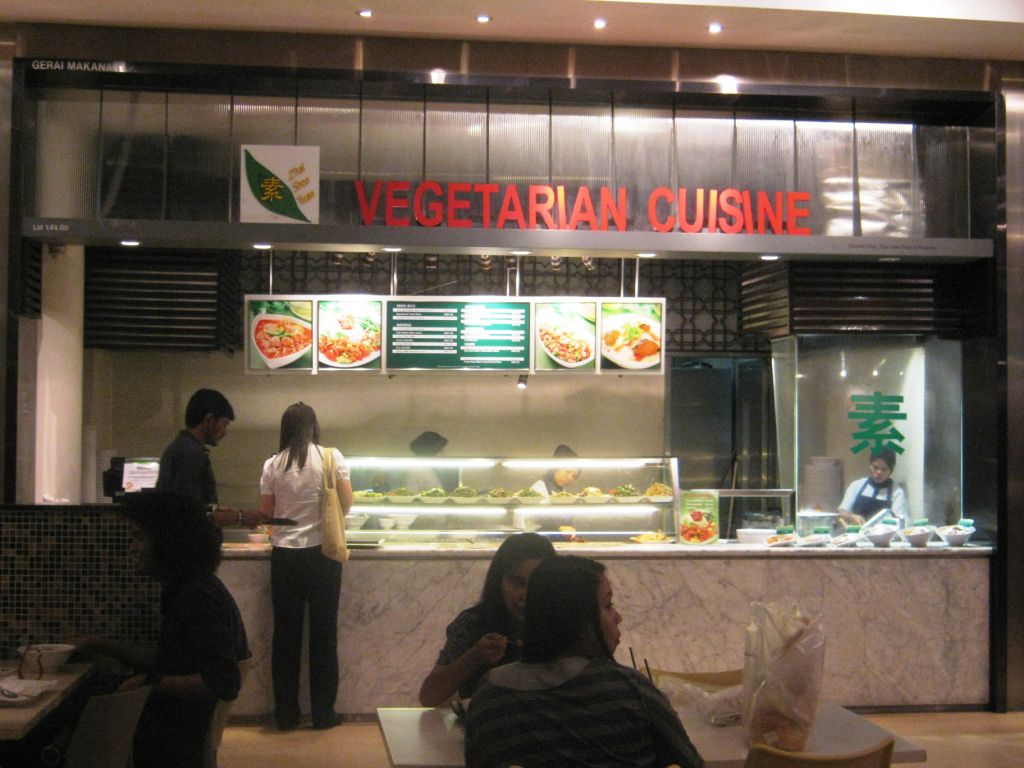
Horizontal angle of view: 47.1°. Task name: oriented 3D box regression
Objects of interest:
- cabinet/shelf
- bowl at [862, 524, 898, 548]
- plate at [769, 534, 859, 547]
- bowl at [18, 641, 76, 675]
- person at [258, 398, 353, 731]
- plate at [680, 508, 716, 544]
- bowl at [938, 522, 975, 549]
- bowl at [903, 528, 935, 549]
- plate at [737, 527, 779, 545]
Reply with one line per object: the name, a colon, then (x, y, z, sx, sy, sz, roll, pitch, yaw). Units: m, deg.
cabinet/shelf: (-0.070, 0.791, 8.393, 2.983, 0.566, 0.707, 0, -3, -13)
bowl: (2.583, 1.059, 8.227, 0.205, 0.149, 0.187, -1, -3, 0)
plate: (2.109, 1.093, 8.188, 0.668, 0.086, 0.252, -1, -2, -5)
bowl: (-2.349, 1.392, 5.917, 0.174, 0.066, 0.177, 0, -2, 0)
person: (-1.351, 1.199, 7.781, 0.577, 2.115, 0.262, 0, -3, -13)
plate: (1.300, 0.987, 8.202, 0.215, 0.201, 0.224, -13, -17, 43)
bowl: (3.175, 1.085, 8.424, 0.227, 0.124, 0.386, -2, -3, 26)
bowl: (2.851, 1.070, 8.250, 0.177, 0.133, 0.154, -1, -3, -5)
plate: (1.729, 1.063, 8.258, 0.268, 0.103, 0.114, -1, -3, 10)
